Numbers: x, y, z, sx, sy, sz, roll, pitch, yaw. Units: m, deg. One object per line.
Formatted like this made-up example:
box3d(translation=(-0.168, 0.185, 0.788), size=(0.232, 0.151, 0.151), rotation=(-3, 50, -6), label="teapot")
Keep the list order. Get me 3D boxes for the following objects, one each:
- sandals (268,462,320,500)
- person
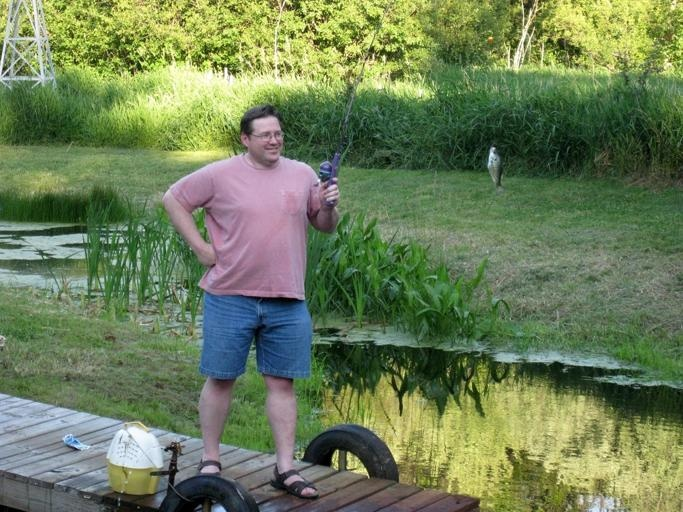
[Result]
box3d(translation=(-0.316, 1.414, 5.979), size=(0.339, 0.156, 0.132), rotation=(10, 23, 38), label="sandals")
box3d(translation=(-0.580, 0.258, 6.108), size=(1.161, 2.471, 0.715), rotation=(1, -2, 2), label="person")
